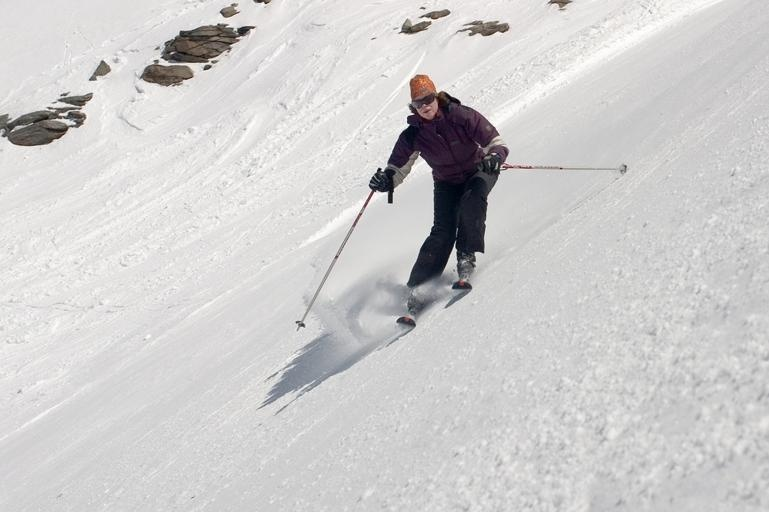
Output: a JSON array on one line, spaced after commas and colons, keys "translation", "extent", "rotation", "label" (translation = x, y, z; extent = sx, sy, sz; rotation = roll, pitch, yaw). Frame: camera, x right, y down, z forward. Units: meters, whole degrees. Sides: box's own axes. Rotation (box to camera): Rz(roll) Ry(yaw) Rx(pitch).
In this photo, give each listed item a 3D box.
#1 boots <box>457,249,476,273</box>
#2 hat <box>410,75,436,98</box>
[{"translation": [1.237, 0.057, 11.025], "extent": [0.294, 0.267, 0.382], "rotation": [-1, 86, 2], "label": "boots"}, {"translation": [0.591, -2.702, 11.455], "extent": [0.357, 0.331, 0.407], "rotation": [-5, 6, -4], "label": "hat"}]
